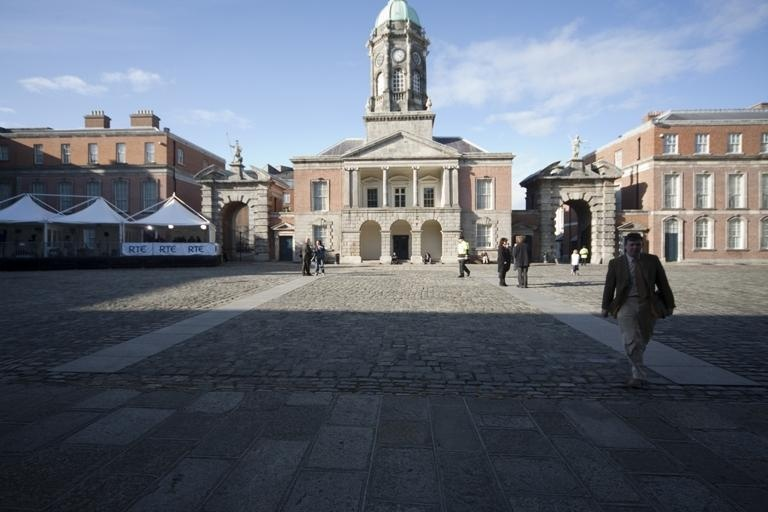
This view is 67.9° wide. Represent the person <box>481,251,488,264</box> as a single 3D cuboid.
[{"bbox_3d":[6.941,0.157,39.489,0.466,0.704,0.853,2,14,7],"label":"person"}]

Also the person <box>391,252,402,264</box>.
[{"bbox_3d":[0.828,0.247,41.619,0.888,1.126,0.647,3,-14,-9],"label":"person"}]

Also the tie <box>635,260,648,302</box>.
[{"bbox_3d":[3.932,0.390,8.790,0.142,0.594,0.234,-5,16,-17],"label":"tie"}]

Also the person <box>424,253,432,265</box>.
[{"bbox_3d":[2.872,0.227,40.385,0.807,0.953,0.722,0,-5,-2],"label":"person"}]

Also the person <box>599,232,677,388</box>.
[{"bbox_3d":[3.829,0.768,8.786,0.998,2.159,0.971,12,19,38],"label":"person"}]
